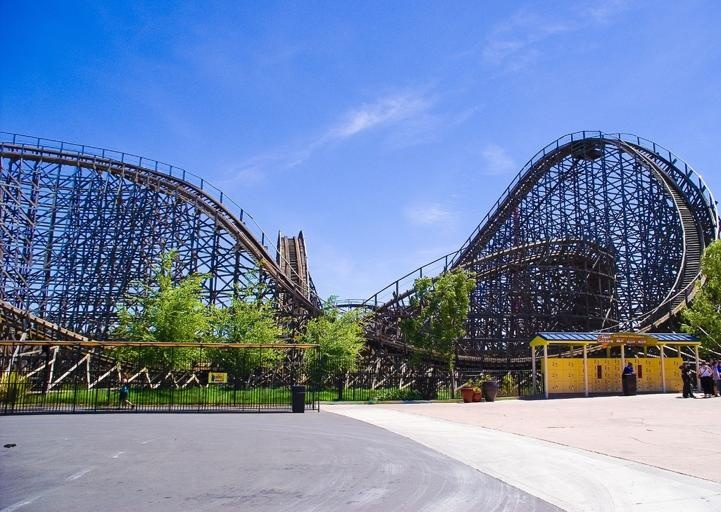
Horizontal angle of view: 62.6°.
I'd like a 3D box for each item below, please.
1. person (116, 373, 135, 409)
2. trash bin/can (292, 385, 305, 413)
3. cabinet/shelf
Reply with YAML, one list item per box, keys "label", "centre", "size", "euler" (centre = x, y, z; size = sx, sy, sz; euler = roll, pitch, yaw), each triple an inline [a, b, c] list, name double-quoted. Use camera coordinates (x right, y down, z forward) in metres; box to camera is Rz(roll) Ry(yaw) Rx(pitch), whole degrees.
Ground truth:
- label: "person"
  centre: [-11.045, 6.335, 27.833]
  size: [1.077, 1.621, 1.556]
  euler: [2, -1, -17]
- label: "trash bin/can"
  centre: [-2.437, 5.588, 23.226]
  size: [0.551, 1.033, 0.470]
  euler: [4, -17, -3]
- label: "cabinet/shelf"
  centre: [13.268, 6.291, 31.372]
  size: [8.181, 2.343, 0.719]
  euler: [7, -17, -16]
